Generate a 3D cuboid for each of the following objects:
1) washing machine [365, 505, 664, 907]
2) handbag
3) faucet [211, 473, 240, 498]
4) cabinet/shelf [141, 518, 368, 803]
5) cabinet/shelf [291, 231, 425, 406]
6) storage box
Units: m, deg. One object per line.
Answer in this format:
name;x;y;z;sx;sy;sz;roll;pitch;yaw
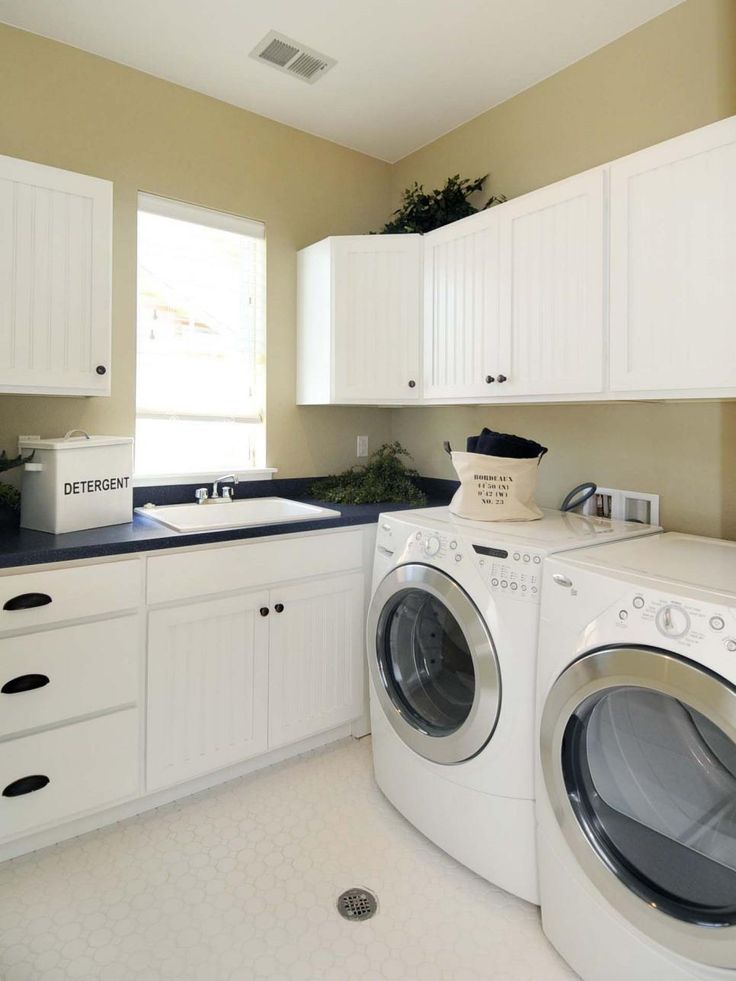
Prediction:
washing machine;0.382;0.523;2.093;0.654;0.979;0.719;-4;7;-31
handbag;0.377;-0.019;2.170;0.284;0.229;0.177;2;3;16
faucet;-0.558;-0.028;2.741;0.073;0.120;0.102;0;-1;-43
cabinet/shelf;-0.401;0.461;2.397;0.817;0.867;0.420;-7;18;-31
cabinet/shelf;0.002;-0.638;2.896;0.443;0.565;0.436;-11;14;-37
storage box;-0.898;-0.038;2.180;0.179;0.297;0.295;8;9;30
